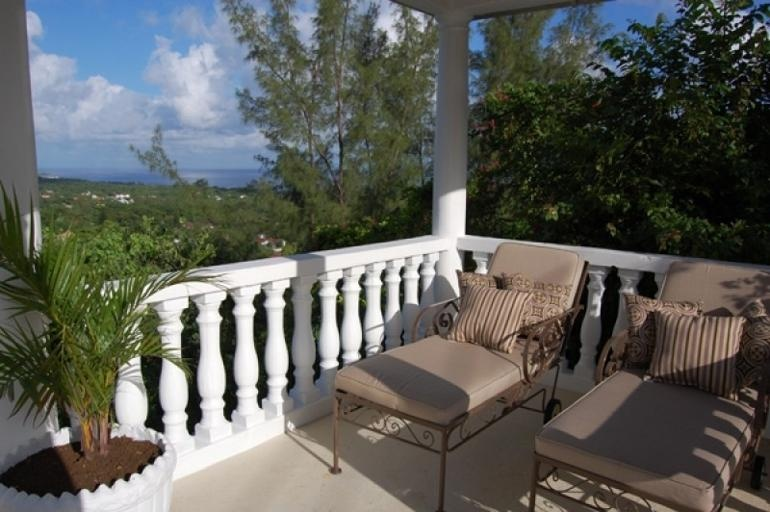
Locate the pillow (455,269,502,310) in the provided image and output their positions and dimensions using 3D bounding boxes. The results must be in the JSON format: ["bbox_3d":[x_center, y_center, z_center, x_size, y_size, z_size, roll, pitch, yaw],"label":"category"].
[{"bbox_3d":[0.794,0.215,4.644,0.423,0.149,0.501,15,-33,12],"label":"pillow"}]

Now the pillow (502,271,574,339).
[{"bbox_3d":[1.251,0.423,4.328,0.388,0.421,0.166,10,-24,13],"label":"pillow"}]

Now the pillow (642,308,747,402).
[{"bbox_3d":[2.127,0.647,3.658,0.556,0.541,0.297,5,-3,37],"label":"pillow"}]

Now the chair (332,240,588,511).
[{"bbox_3d":[0.682,0.753,4.372,1.291,1.679,2.300,9,14,40],"label":"chair"}]

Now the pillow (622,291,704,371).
[{"bbox_3d":[1.968,0.548,3.765,0.437,0.494,0.172,6,-16,19],"label":"pillow"}]
